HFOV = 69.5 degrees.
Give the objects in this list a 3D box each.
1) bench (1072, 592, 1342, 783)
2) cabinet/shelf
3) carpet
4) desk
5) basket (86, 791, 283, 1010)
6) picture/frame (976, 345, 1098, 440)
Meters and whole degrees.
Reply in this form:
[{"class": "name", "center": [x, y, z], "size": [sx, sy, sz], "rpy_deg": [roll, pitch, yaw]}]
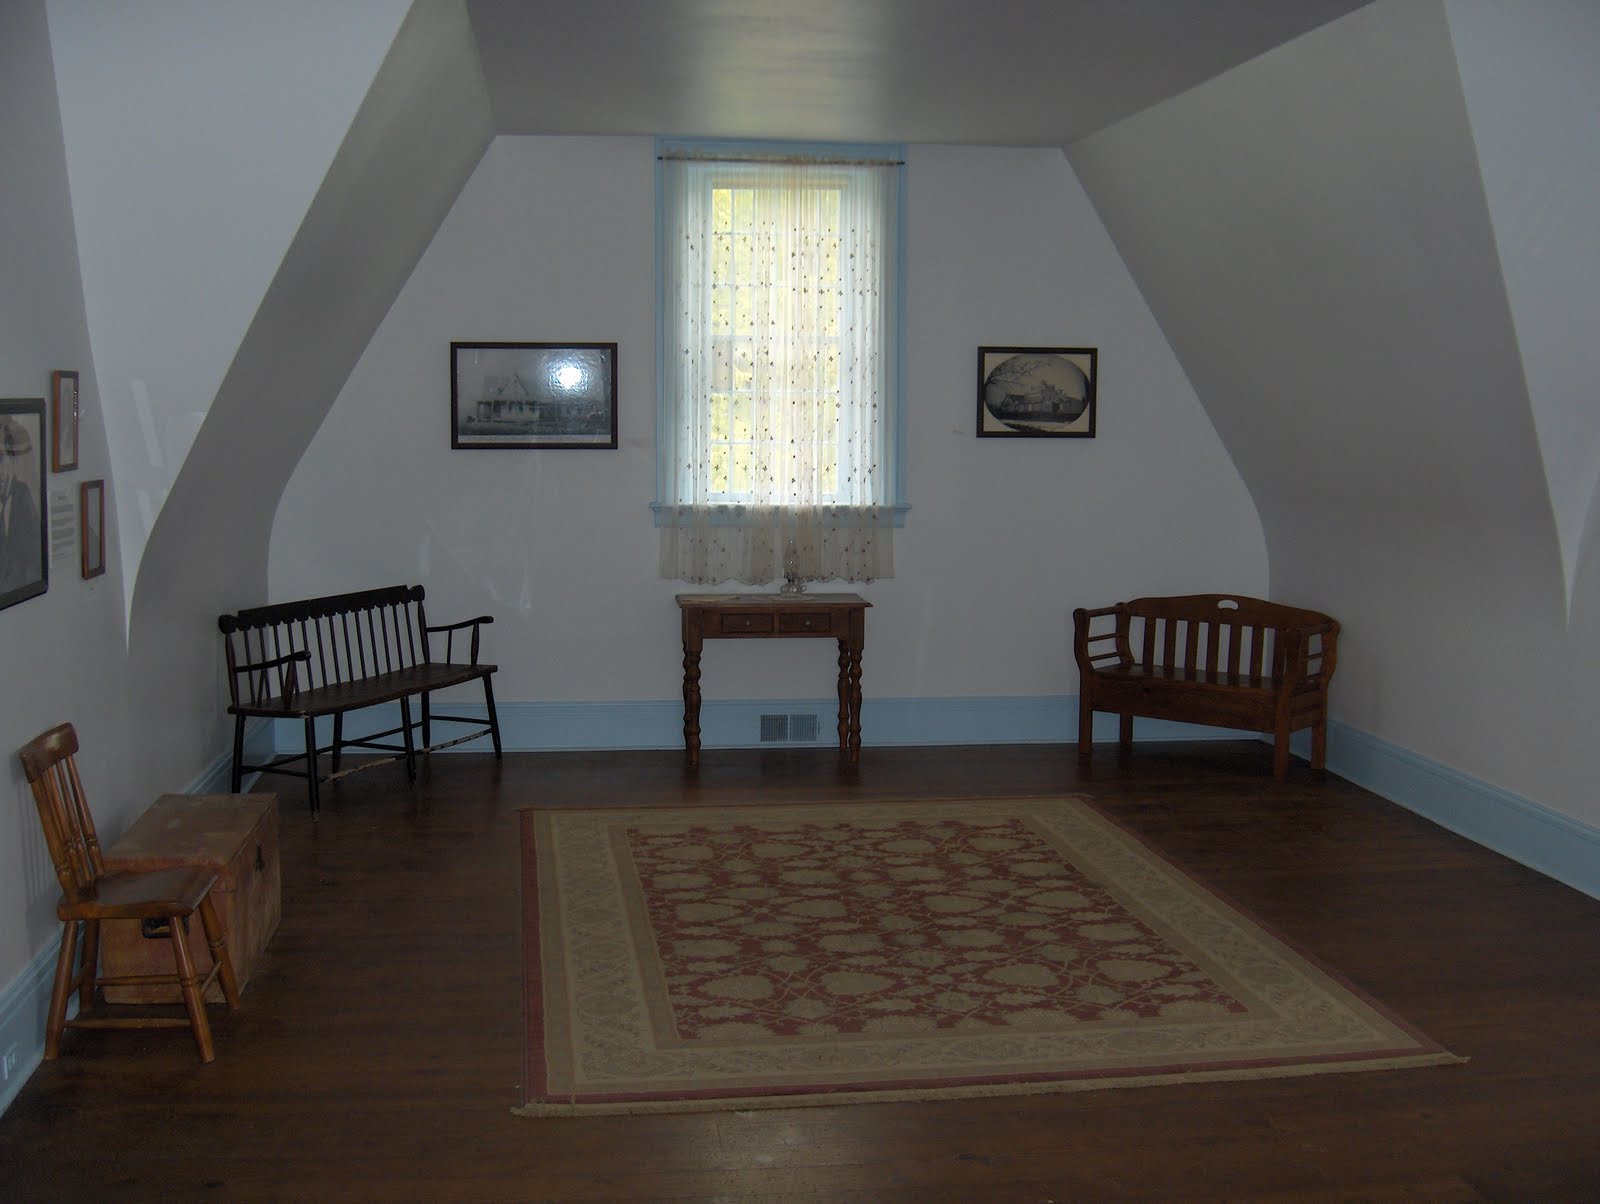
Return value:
[{"class": "bench", "center": [2.550, 0.489, 7.250], "size": [1.526, 0.970, 1.134], "rpy_deg": [5, 11, 25]}, {"class": "cabinet/shelf", "center": [-2.288, 1.052, 4.380], "size": [0.507, 0.672, 0.956], "rpy_deg": [-1, 8, -3]}, {"class": "carpet", "center": [0.424, 1.341, 5.056], "size": [3.251, 0.041, 2.686], "rpy_deg": [0, 10, -4]}, {"class": "desk", "center": [-0.163, 0.677, 7.105], "size": [1.310, 1.290, 0.911], "rpy_deg": [0, 2, -6]}, {"class": "basket", "center": [-2.277, 1.059, 4.399], "size": [0.505, 0.689, 0.985], "rpy_deg": [0, 4, 0]}, {"class": "picture/frame", "center": [1.518, -1.390, 7.533], "size": [0.519, 0.487, 0.045], "rpy_deg": [0, 2, -5]}]
